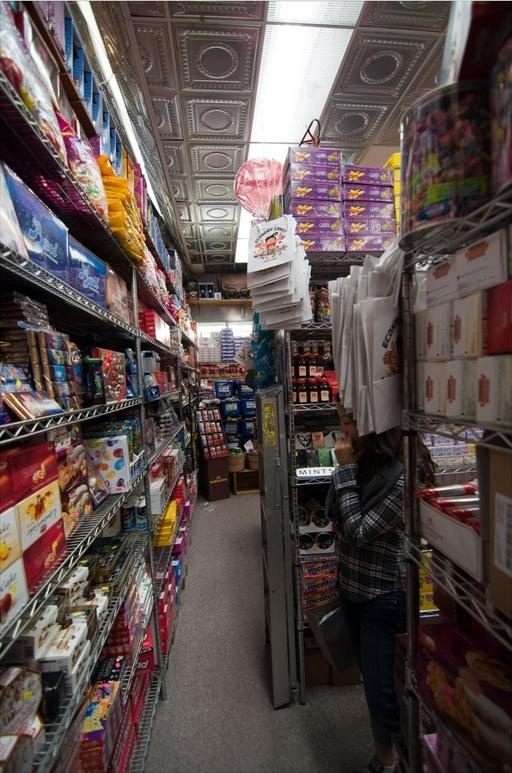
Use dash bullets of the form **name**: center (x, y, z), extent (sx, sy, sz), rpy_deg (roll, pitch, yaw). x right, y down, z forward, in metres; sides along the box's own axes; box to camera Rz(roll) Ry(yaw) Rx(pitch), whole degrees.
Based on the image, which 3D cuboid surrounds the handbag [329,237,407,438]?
- **handbag**: center (0.306, -0.133, 1.329), extent (0.332, 0.457, 0.153), rpy_deg (-12, 12, -34)

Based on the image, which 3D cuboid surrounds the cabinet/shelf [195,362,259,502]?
- **cabinet/shelf**: center (-0.363, 0.487, 6.203), extent (0.749, 1.512, 1.787), rpy_deg (-3, 3, -3)

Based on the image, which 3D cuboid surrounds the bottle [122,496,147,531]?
- **bottle**: center (-0.517, 0.551, 2.146), extent (0.121, 0.138, 0.136), rpy_deg (-1, 0, -3)
